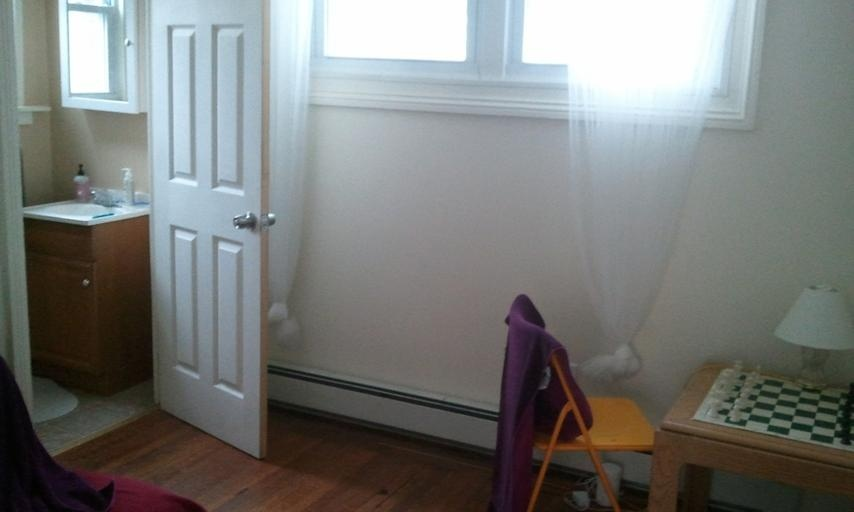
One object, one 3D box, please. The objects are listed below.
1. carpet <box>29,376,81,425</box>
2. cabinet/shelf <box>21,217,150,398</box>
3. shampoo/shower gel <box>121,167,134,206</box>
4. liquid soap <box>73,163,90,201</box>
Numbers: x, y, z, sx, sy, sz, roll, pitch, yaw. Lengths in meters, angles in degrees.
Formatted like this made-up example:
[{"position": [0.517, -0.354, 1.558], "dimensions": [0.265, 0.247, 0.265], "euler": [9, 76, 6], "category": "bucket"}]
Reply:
[{"position": [-2.452, 0.925, 4.181], "dimensions": [0.259, 0.086, 0.542], "euler": [-8, 18, -30], "category": "carpet"}, {"position": [-2.287, 0.325, 4.259], "dimensions": [0.772, 1.154, 0.407], "euler": [1, 16, 1], "category": "cabinet/shelf"}, {"position": [-2.071, -0.485, 4.405], "dimensions": [0.084, 0.234, 0.262], "euler": [-7, 18, -25], "category": "shampoo/shower gel"}, {"position": [-2.460, -0.523, 4.533], "dimensions": [0.107, 0.250, 0.237], "euler": [-8, 18, -27], "category": "liquid soap"}]
